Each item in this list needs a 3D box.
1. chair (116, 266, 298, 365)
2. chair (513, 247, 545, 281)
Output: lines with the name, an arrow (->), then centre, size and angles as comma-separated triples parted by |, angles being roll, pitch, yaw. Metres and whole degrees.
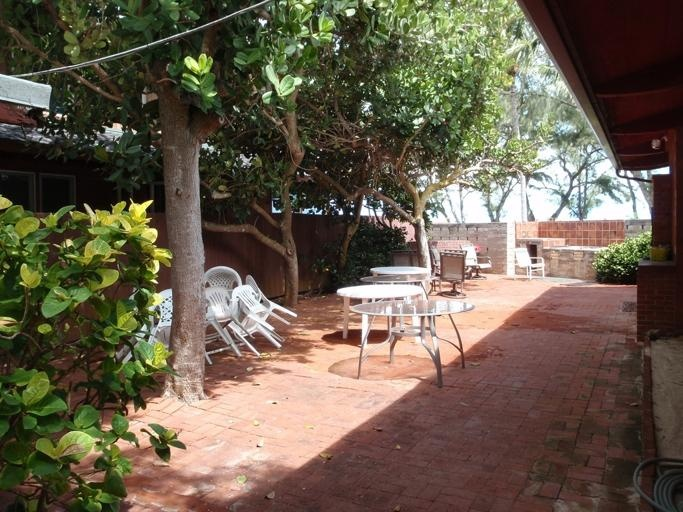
chair -> -1.996, 0.917, 7.879 | 1.786, 1.452, 2.553 | -2, 4, 1
chair -> 7.692, 0.308, 18.610 | 0.830, 0.808, 0.969 | 16, -2, 42
